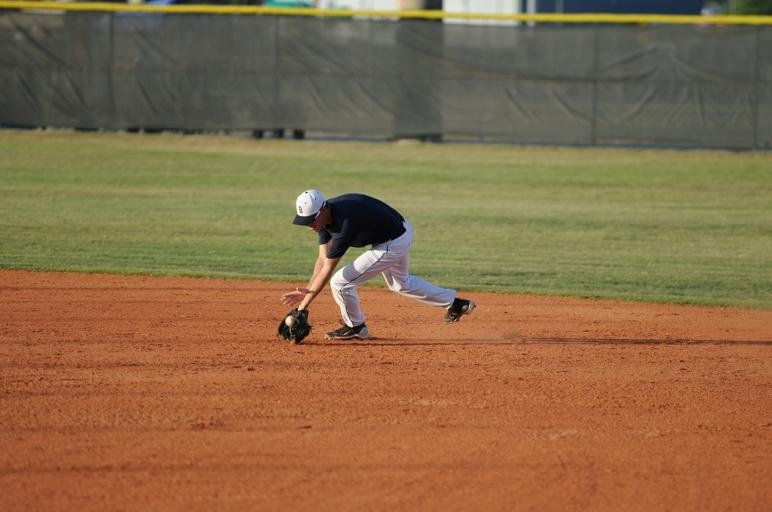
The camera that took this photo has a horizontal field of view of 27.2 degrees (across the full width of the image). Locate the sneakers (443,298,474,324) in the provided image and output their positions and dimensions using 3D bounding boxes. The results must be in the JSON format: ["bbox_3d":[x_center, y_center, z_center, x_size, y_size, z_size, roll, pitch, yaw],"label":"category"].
[{"bbox_3d":[1.224,0.842,26.406,0.298,0.219,0.632,5,-31,-45],"label":"sneakers"}]

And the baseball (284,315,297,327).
[{"bbox_3d":[-1.563,1.016,25.985,0.164,0.112,0.175,-2,6,-2],"label":"baseball"}]
